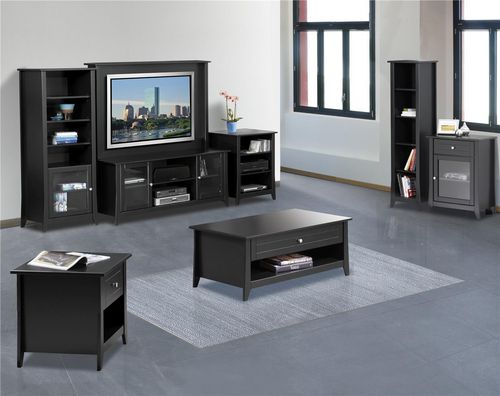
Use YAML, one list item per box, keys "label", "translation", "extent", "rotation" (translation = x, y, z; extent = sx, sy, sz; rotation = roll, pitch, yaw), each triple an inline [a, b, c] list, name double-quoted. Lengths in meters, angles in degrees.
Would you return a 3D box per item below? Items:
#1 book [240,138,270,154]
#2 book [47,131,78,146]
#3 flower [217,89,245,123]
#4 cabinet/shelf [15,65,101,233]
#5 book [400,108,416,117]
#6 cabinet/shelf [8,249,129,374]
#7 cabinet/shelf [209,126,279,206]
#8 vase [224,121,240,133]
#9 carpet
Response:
- label: "book"
  translation: [0.149, -0.923, 7.214]
  extent: [0.364, 0.175, 0.271]
  rotation: [-10, 15, -39]
- label: "book"
  translation: [-2.603, -0.837, 5.796]
  extent: [0.330, 0.170, 0.177]
  rotation: [-7, 13, -30]
- label: "flower"
  translation: [-0.333, -1.627, 7.323]
  extent: [0.571, 0.710, 0.525]
  rotation: [-1, 10, 0]
- label: "cabinet/shelf"
  translation: [-2.633, -0.761, 5.935]
  extent: [0.858, 2.017, 0.588]
  rotation: [-4, 8, -33]
- label: "book"
  translation: [2.565, -1.377, 6.666]
  extent: [0.214, 0.141, 0.276]
  rotation: [3, 12, 18]
- label: "cabinet/shelf"
  translation: [-1.115, 0.641, 2.855]
  extent: [0.648, 0.711, 0.860]
  rotation: [1, 6, 4]
- label: "cabinet/shelf"
  translation: [-0.098, -0.575, 7.352]
  extent: [0.898, 1.137, 1.005]
  rotation: [8, 14, 39]
- label: "vase"
  translation: [-0.295, -1.235, 7.222]
  extent: [0.218, 0.167, 0.208]
  rotation: [-5, 12, -21]
- label: "carpet"
  translation: [0.311, 0.821, 3.995]
  extent: [2.858, 0.083, 1.561]
  rotation: [-6, 13, -25]
